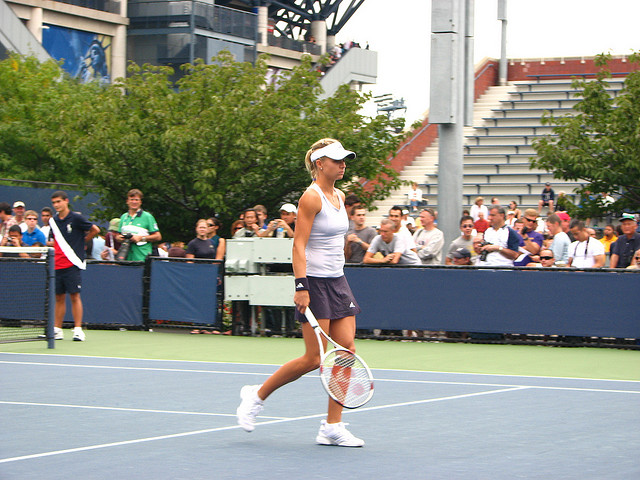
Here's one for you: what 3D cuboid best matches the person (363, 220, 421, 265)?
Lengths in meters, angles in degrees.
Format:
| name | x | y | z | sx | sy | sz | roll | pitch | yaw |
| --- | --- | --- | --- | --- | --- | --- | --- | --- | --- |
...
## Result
| name | x | y | z | sx | sy | sz | roll | pitch | yaw |
| --- | --- | --- | --- | --- | --- | --- | --- | --- | --- |
| person | 1.156 | 0.079 | 21.418 | 0.763 | 0.533 | 1.058 | -9 | -23 | 24 |

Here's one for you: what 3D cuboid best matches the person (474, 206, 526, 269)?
| name | x | y | z | sx | sy | sz | roll | pitch | yaw |
| --- | --- | --- | --- | --- | --- | --- | --- | --- | --- |
| person | 3.152 | -0.088 | 21.620 | 0.851 | 1.025 | 0.606 | 3 | 3 | 5 |

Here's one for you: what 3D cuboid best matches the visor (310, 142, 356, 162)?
| name | x | y | z | sx | sy | sz | roll | pitch | yaw |
| --- | --- | --- | --- | --- | --- | --- | --- | --- | --- |
| visor | 0.158 | -1.048 | 14.339 | 0.427 | 0.104 | 0.244 | -2 | -2 | 32 |

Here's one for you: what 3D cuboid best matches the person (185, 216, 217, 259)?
| name | x | y | z | sx | sy | sz | roll | pitch | yaw |
| --- | --- | --- | --- | --- | --- | --- | --- | --- | --- |
| person | -2.149 | -0.023 | 22.740 | 0.588 | 0.689 | 0.506 | 1 | 3 | -21 |

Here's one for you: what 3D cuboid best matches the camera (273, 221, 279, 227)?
| name | x | y | z | sx | sy | sz | roll | pitch | yaw |
| --- | --- | --- | --- | --- | --- | --- | --- | --- | --- |
| camera | -0.808 | -0.308 | 22.036 | 0.089 | 0.092 | 0.049 | 2 | 3 | -1 |

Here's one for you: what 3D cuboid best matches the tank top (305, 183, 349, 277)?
| name | x | y | z | sx | sy | sz | roll | pitch | yaw |
| --- | --- | --- | --- | --- | --- | --- | --- | --- | --- |
| tank top | 0.068 | -0.126 | 14.449 | 0.523 | 1.105 | 0.247 | 2 | 4 | -12 |

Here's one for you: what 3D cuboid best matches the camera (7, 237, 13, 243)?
| name | x | y | z | sx | sy | sz | roll | pitch | yaw |
| --- | --- | --- | --- | --- | --- | --- | --- | --- | --- |
| camera | -5.728 | -0.030 | 22.578 | 0.156 | 0.100 | 0.041 | 0 | -3 | -7 |
